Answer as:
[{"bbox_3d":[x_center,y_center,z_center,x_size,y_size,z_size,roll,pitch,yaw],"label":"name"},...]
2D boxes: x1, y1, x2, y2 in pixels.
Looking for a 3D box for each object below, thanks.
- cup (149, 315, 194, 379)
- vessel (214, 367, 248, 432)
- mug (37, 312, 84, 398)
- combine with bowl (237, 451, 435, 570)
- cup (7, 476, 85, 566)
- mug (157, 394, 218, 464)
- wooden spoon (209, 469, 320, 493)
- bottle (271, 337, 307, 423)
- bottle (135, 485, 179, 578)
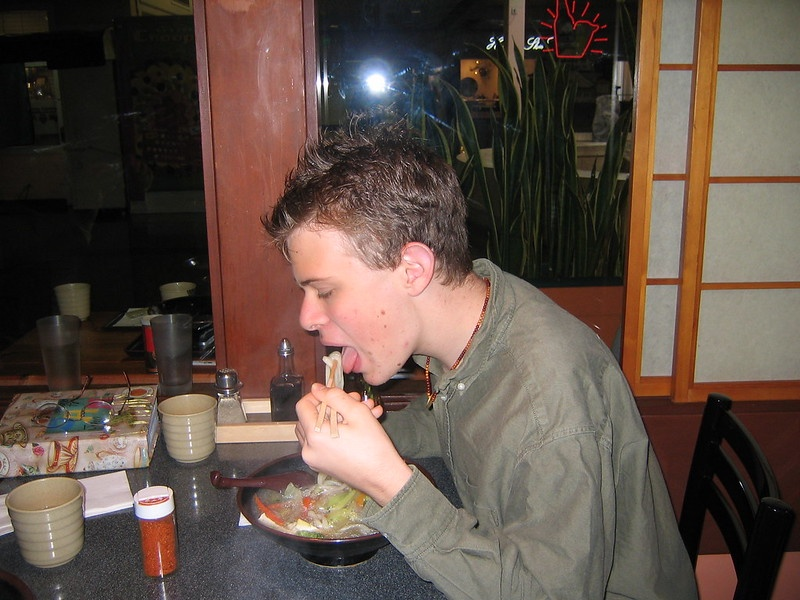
[{"bbox_3d":[-0.782,0.174,2.258,0.130,0.235,0.119,-4,12,1],"label":"cup"},{"bbox_3d":[-0.547,0.304,2.081,0.103,0.226,0.108,5,38,-6],"label":"vessel"},{"bbox_3d":[-1.130,0.189,2.209,0.127,0.245,0.192,-14,16,-40],"label":"mug"},{"bbox_3d":[-0.142,0.557,1.801,0.630,0.224,0.661,-6,-15,23],"label":"combine with bowl"},{"bbox_3d":[-0.835,0.531,1.549,0.163,0.183,0.107,-9,13,-21],"label":"cup"},{"bbox_3d":[-0.621,0.392,1.924,0.148,0.141,0.140,-4,3,-2],"label":"mug"},{"bbox_3d":[-0.343,0.473,1.690,0.226,0.046,0.074,16,-11,-22],"label":"wooden spoon"},{"bbox_3d":[-0.369,0.268,2.154,0.120,0.297,0.120,1,26,0],"label":"bottle"},{"bbox_3d":[-0.563,0.539,1.517,0.084,0.185,0.090,-4,12,1],"label":"bottle"}]
